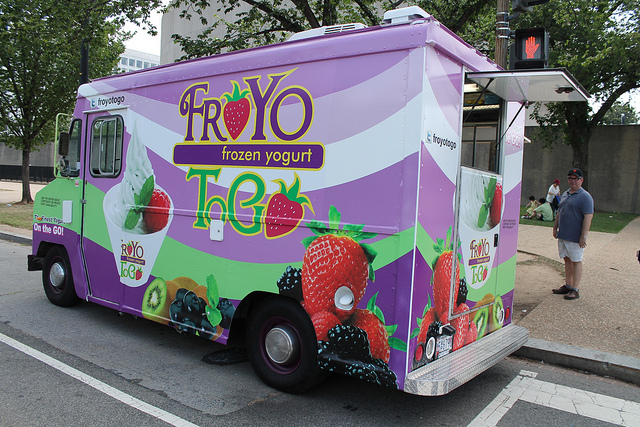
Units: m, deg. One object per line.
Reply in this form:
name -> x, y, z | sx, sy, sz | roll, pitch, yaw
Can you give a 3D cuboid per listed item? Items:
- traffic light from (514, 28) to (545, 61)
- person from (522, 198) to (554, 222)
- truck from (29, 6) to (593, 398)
traffic light -> 2.806, -2.217, 6.410 | 0.334, 0.444, 0.305 | 2, -7, 31
person -> 9.487, -0.127, 20.773 | 0.605, 0.843, 1.112 | -12, 13, -15
truck -> -1.076, -0.310, 8.372 | 8.030, 4.643, 4.198 | 5, 3, 37
